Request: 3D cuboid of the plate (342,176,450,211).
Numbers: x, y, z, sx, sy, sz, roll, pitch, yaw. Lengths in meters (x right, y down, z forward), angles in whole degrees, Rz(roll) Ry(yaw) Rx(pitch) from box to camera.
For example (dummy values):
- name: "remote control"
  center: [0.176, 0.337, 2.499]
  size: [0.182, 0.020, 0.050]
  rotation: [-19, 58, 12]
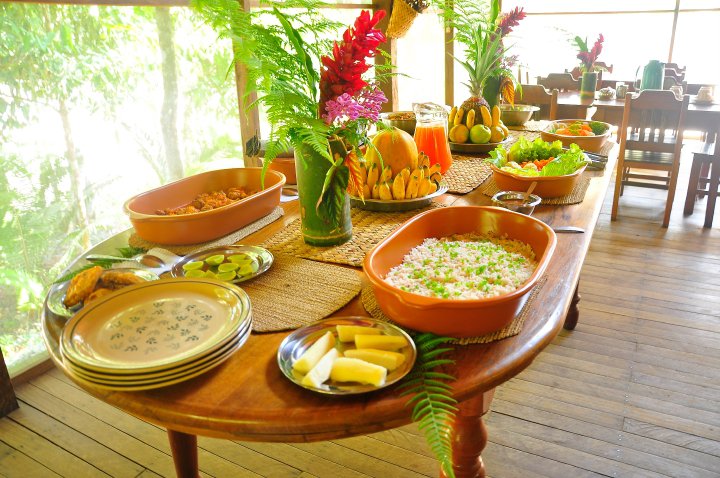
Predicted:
- name: "plate"
  center: [0.147, -0.185, 1.757]
  size: [0.310, 0.092, 0.316]
  rotation: [9, 15, 15]

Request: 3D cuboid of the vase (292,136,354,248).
- name: "vase"
  center: [-0.126, -0.142, 1.405]
  size: [0.178, 0.291, 0.141]
  rotation: [-16, 18, -26]

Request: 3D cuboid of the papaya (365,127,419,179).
- name: "papaya"
  center: [0.129, -0.317, 1.685]
  size: [0.194, 0.171, 0.172]
  rotation: [2, 19, 11]

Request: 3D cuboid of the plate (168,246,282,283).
- name: "plate"
  center: [-0.358, 0.035, 1.403]
  size: [0.318, 0.094, 0.290]
  rotation: [-2, 13, 5]

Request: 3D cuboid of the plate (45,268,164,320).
- name: "plate"
  center: [-0.711, 0.102, 1.341]
  size: [0.312, 0.120, 0.293]
  rotation: [12, 14, 39]
